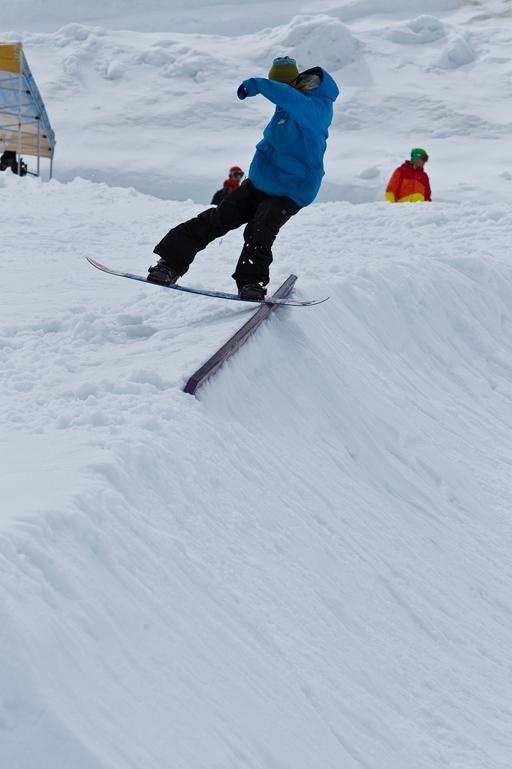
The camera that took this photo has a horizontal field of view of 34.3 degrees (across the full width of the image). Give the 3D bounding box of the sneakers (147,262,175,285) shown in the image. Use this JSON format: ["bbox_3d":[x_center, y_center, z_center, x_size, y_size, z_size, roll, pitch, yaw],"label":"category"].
[{"bbox_3d":[-0.558,-0.652,4.886,0.169,0.125,0.148,10,28,3],"label":"sneakers"}]

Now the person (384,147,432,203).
[{"bbox_3d":[1.881,-2.515,9.928,0.497,0.673,0.681,15,29,8],"label":"person"}]

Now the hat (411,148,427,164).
[{"bbox_3d":[1.909,-2.697,9.743,0.176,0.173,0.227,27,22,13],"label":"hat"}]

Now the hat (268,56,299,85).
[{"bbox_3d":[0.166,-1.798,4.756,0.164,0.140,0.337,8,27,-1],"label":"hat"}]

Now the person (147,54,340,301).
[{"bbox_3d":[-0.036,-1.158,4.973,0.599,1.511,0.979,24,32,22],"label":"person"}]
